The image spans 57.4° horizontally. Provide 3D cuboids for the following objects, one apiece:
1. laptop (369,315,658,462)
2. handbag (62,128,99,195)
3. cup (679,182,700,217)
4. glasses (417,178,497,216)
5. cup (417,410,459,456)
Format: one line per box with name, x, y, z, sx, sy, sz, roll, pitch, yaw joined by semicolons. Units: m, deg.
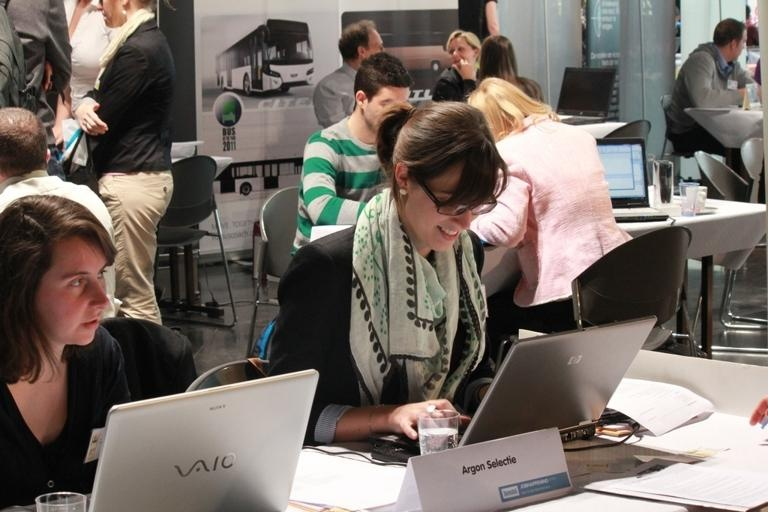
laptop;0.429;0.323;1.893;0.512;0.343;0.470;-5;10;-43
handbag;-1.832;-0.573;4.220;0.192;0.388;0.172;-3;7;-27
cup;1.812;-0.342;4.214;0.095;0.191;0.125;-5;8;-36
glasses;0.204;-0.139;1.988;0.132;0.042;0.139;1;39;-45
cup;0.131;0.446;1.801;0.098;0.124;0.108;-1;0;-1
